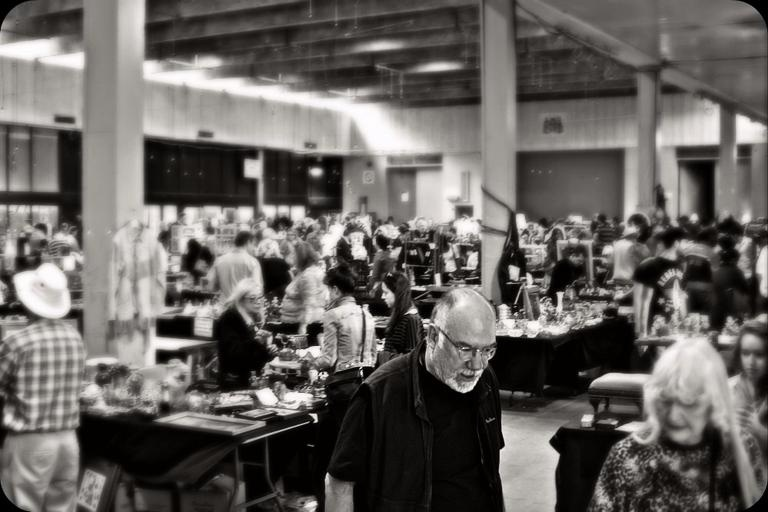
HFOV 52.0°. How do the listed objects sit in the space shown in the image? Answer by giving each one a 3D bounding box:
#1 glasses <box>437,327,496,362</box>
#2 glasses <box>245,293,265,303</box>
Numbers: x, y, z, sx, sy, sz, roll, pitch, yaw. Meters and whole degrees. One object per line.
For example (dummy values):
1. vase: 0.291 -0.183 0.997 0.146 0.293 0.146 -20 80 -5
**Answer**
1. glasses: 0.373 0.409 3.567 0.173 0.054 0.168 37 16 35
2. glasses: -1.067 0.356 6.604 0.099 0.075 0.291 -1 0 10
